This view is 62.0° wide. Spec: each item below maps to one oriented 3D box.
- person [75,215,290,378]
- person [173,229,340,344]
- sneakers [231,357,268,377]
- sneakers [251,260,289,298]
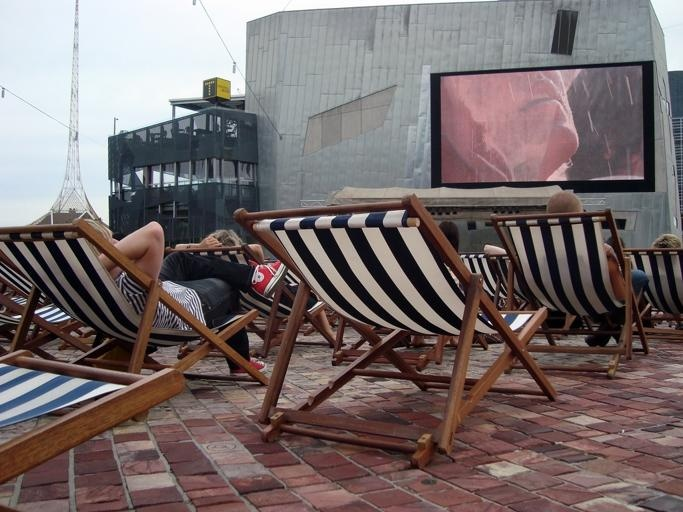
[{"bbox_3d":[-1.132,0.304,3.985,1.021,0.796,1.543,1,-1,36],"label":"person"},{"bbox_3d":[-0.908,0.273,5.305,1.147,0.980,1.569,-1,-1,34],"label":"person"},{"bbox_3d":[-0.658,0.811,4.153,0.339,0.116,0.112,-6,1,2],"label":"sneakers"},{"bbox_3d":[-0.607,0.192,4.759,0.142,0.233,0.371,-29,20,48],"label":"sneakers"}]
